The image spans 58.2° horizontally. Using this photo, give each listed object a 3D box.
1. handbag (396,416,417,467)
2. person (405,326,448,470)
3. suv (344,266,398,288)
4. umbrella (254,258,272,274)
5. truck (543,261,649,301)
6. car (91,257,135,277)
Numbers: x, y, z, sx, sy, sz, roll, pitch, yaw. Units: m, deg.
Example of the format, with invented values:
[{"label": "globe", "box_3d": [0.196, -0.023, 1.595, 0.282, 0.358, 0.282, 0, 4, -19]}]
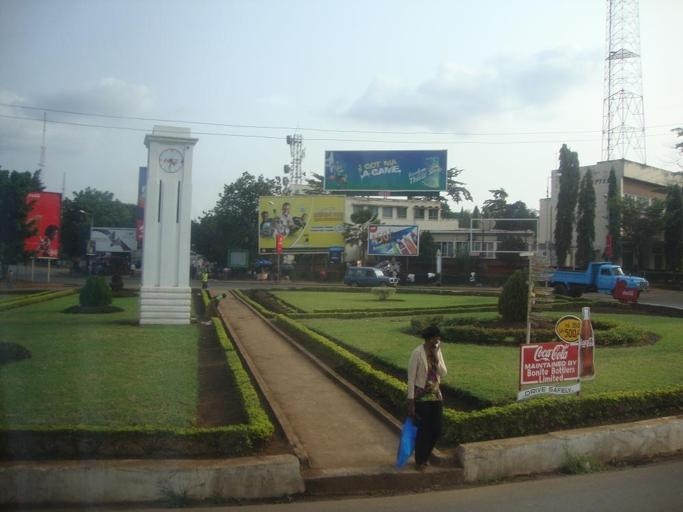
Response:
[{"label": "handbag", "box_3d": [1.179, 3.248, 10.864, 0.242, 0.850, 0.641, 8, 9, 27]}, {"label": "person", "box_3d": [1.509, 2.484, 10.955, 0.713, 2.323, 0.657, -4, 11, -42]}, {"label": "suv", "box_3d": [2.035, 1.608, 46.720, 2.903, 1.361, 1.685, -1, 0, 7]}, {"label": "umbrella", "box_3d": [-7.665, 0.899, 59.826, 1.338, 1.129, 1.412, 3, 4, 20]}, {"label": "truck", "box_3d": [14.242, 1.432, 34.517, 2.048, 2.107, 5.472, 2, -3, -44]}, {"label": "car", "box_3d": [-22.725, 1.021, 61.286, 4.391, 1.793, 3.428, 0, -1, 5]}]
